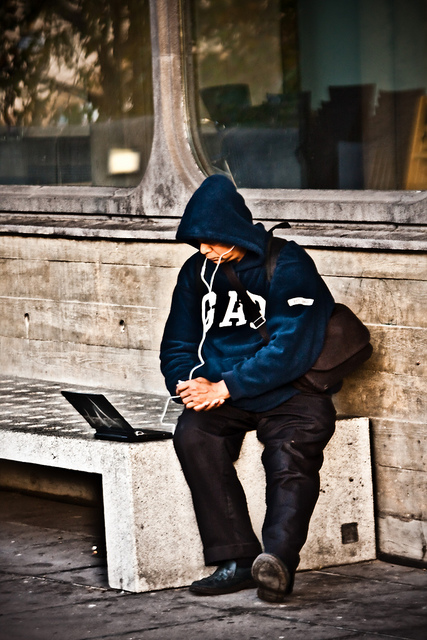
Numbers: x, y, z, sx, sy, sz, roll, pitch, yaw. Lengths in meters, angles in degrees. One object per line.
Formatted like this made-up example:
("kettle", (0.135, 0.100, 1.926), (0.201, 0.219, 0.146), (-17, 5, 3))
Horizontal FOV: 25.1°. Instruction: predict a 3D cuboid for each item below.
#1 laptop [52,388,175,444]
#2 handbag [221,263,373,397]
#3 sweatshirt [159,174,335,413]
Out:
("laptop", (-0.259, 0.348, 3.821), (0.399, 0.215, 0.623), (-2, 0, -39))
("handbag", (0.584, 0.075, 3.650), (0.446, 0.394, 0.361), (11, 22, -3))
("sweatshirt", (0.073, -0.102, 3.699), (0.697, 0.891, 0.367), (3, 6, 34))
